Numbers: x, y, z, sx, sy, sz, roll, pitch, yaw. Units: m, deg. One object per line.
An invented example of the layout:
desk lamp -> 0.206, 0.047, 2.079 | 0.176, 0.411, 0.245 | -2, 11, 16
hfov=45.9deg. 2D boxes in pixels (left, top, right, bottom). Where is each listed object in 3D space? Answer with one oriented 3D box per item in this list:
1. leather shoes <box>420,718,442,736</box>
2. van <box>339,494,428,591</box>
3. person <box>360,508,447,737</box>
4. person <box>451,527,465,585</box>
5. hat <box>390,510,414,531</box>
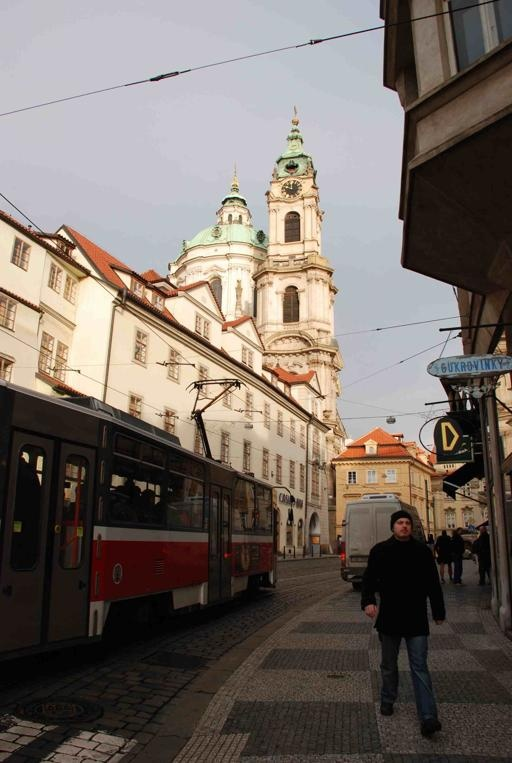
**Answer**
leather shoes -> 1.157, 2.278, 4.011 | 0.126, 0.121, 0.213 | -5, -15, 14
van -> 3.594, 4.757, 18.691 | 2.556, 3.217, 5.531 | -4, -15, 17
person -> 1.048, 1.703, 4.431 | 0.584, 1.463, 0.623 | -7, -15, 23
person -> 6.125, 5.309, 18.342 | 0.365, 1.501, 1.637 | -5, -15, 16
hat -> 1.117, 1.107, 4.679 | 0.146, 0.197, 0.206 | 0, -33, 8
